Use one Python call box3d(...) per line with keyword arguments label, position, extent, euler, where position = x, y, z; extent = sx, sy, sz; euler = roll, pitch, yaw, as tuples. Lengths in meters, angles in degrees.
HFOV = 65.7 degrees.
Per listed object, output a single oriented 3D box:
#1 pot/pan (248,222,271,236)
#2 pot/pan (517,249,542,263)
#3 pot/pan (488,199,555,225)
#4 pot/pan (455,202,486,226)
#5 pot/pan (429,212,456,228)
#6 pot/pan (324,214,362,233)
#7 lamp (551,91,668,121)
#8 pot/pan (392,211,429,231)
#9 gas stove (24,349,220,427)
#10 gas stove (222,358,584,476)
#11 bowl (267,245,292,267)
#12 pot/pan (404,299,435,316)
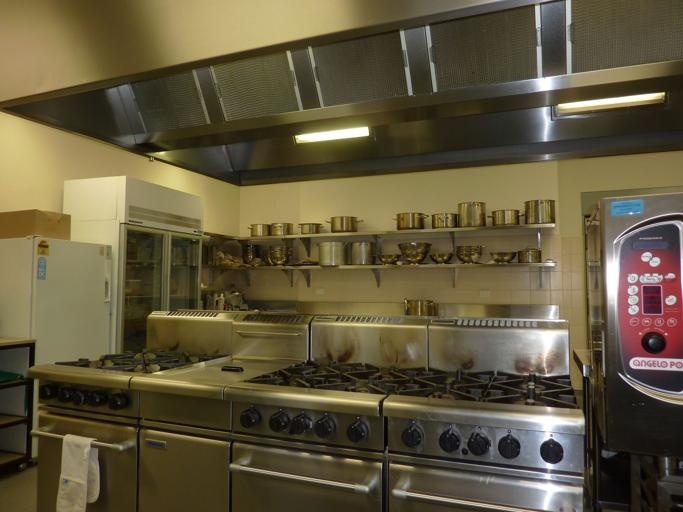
box3d(label="pot/pan", position=(-0.953, -0.304, 6.053), extent=(0.211, 0.085, 0.146), euler=(0, -1, 15))
box3d(label="pot/pan", position=(1.821, -0.004, 5.134), extent=(0.167, 0.087, 0.160), euler=(-2, -2, 29))
box3d(label="pot/pan", position=(1.716, -0.423, 5.045), extent=(0.556, 0.176, 0.258), euler=(1, 0, 32))
box3d(label="pot/pan", position=(1.257, -0.411, 5.113), extent=(0.219, 0.185, 0.277), euler=(0, -2, -35))
box3d(label="pot/pan", position=(1.012, -0.356, 5.287), extent=(0.192, 0.101, 0.188), euler=(0, 0, 36))
box3d(label="pot/pan", position=(0.012, -0.337, 5.562), extent=(0.280, 0.174, 0.145), euler=(-3, 12, 8))
box3d(label="lamp", position=(1.399, -0.771, 2.748), extent=(0.646, 0.087, 0.126), euler=(7, 9, 34))
box3d(label="pot/pan", position=(0.720, -0.335, 5.455), extent=(0.318, 0.110, 0.204), euler=(1, 2, 13))
box3d(label="gas stove", position=(-1.140, 0.606, 2.799), extent=(0.706, 0.217, 0.654), euler=(1, 13, 24))
box3d(label="gas stove", position=(0.337, 0.633, 2.310), extent=(1.276, 0.255, 0.592), euler=(-1, 12, 15))
box3d(label="bowl", position=(-0.695, -0.019, 5.960), extent=(0.268, 0.193, 0.197), euler=(3, -6, 1))
box3d(label="pot/pan", position=(0.761, 0.488, 5.241), extent=(0.266, 0.159, 0.189), euler=(0, 0, 28))
